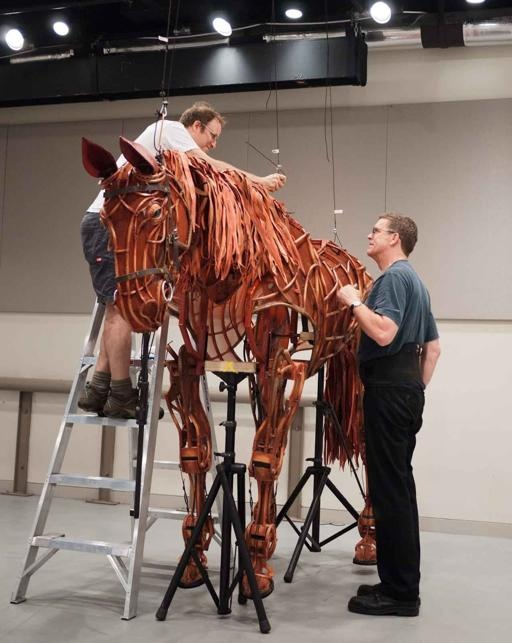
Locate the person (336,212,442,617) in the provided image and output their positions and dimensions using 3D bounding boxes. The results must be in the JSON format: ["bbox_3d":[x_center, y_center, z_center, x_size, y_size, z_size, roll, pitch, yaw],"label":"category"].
[{"bbox_3d":[0.533,0.349,3.020,0.369,1.600,0.581,1,1,14],"label":"person"}]

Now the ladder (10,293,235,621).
[{"bbox_3d":[-0.708,0.564,3.625,0.953,1.305,1.770,0,0,-4],"label":"ladder"}]

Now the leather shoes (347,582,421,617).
[{"bbox_3d":[0.491,1.104,2.943,0.177,0.072,0.144,4,-5,8],"label":"leather shoes"}]

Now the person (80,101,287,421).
[{"bbox_3d":[-0.172,-0.284,3.508,0.435,1.499,1.811,2,0,20],"label":"person"}]

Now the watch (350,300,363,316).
[{"bbox_3d":[0.373,-0.057,2.795,0.054,0.054,0.035,-15,39,-30],"label":"watch"}]

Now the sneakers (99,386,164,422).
[{"bbox_3d":[-0.514,0.344,3.100,0.240,0.177,0.089,0,-6,-1],"label":"sneakers"}]
